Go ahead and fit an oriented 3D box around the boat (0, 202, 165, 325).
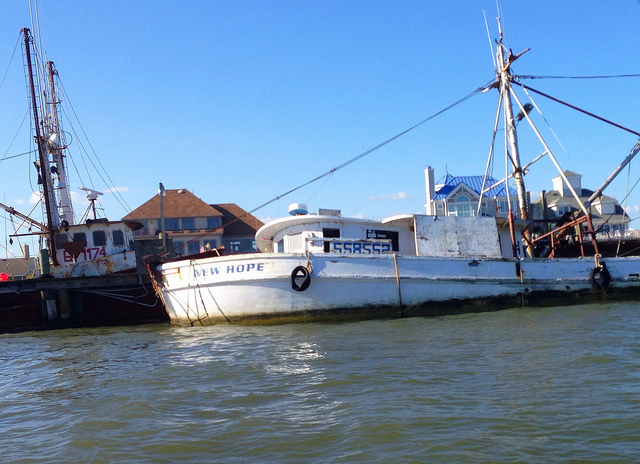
[{"bbox_3d":[-8.965,1.435,23.761,5.050,3.833,3.818,-4,6,-15],"label":"boat"}]
